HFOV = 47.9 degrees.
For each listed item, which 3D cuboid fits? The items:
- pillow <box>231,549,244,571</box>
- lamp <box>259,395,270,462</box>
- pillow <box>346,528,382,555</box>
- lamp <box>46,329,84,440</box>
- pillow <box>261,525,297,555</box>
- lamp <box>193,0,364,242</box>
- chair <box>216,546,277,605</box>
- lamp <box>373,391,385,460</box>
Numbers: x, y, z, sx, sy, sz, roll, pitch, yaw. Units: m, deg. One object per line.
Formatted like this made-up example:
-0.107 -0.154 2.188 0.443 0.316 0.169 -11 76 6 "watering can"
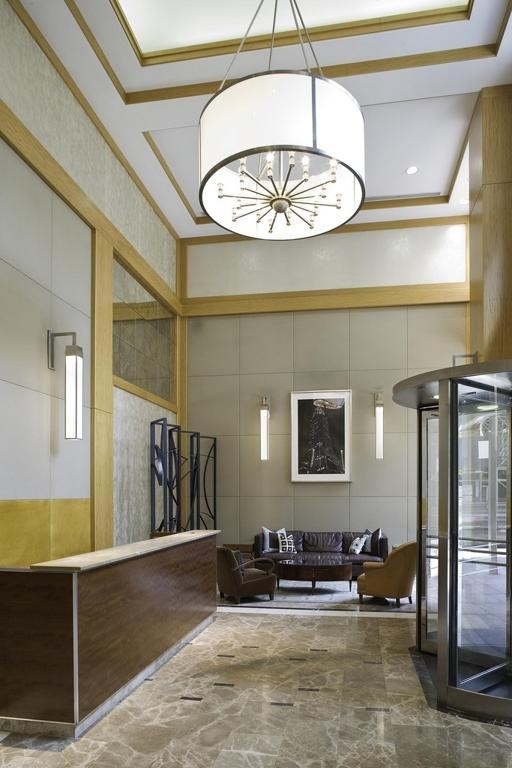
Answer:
-0.240 2.262 7.426 0.067 0.288 0.255 -14 -2 5 "pillow"
0.144 0.797 10.519 0.195 1.157 0.404 0 -9 -1 "lamp"
1.753 2.562 9.371 0.367 0.442 0.133 -15 -50 28 "pillow"
-1.846 -0.021 5.620 0.357 1.083 0.426 -1 -9 9 "lamp"
0.368 2.655 9.701 0.366 0.403 0.143 2 -35 4 "pillow"
0.140 -2.009 3.743 0.985 1.951 1.069 1 -9 -7 "lamp"
-0.200 2.465 7.732 0.850 0.927 0.669 6 -9 -34 "chair"
2.155 0.725 10.120 0.171 1.171 0.348 -2 -9 13 "lamp"
